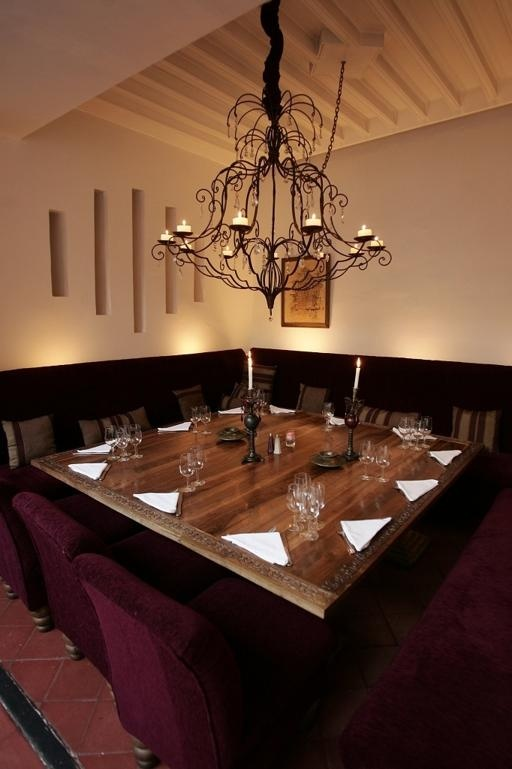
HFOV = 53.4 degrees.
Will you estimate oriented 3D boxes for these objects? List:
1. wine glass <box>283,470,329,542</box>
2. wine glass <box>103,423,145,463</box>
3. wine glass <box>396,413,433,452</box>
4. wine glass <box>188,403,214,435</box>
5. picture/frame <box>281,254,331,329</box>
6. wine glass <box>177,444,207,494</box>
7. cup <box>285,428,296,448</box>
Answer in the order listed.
[{"bbox_3d":[0.168,0.421,1.727,0.149,0.261,0.171,-1,-1,3],"label":"wine glass"},{"bbox_3d":[-0.624,0.266,2.427,0.179,0.203,0.180,0,5,-9],"label":"wine glass"},{"bbox_3d":[0.817,0.239,2.748,0.180,0.193,0.192,-6,4,-34],"label":"wine glass"},{"bbox_3d":[-0.316,0.194,2.883,0.160,0.255,0.157,2,4,-8],"label":"wine glass"},{"bbox_3d":[0.471,-0.843,4.609,0.041,0.853,0.727,-12,19,-36],"label":"picture/frame"},{"bbox_3d":[-0.257,0.359,2.089,0.132,0.228,0.149,-1,-2,0],"label":"wine glass"},{"bbox_3d":[0.190,0.290,2.751,0.066,0.112,0.067,1,8,0],"label":"cup"}]
